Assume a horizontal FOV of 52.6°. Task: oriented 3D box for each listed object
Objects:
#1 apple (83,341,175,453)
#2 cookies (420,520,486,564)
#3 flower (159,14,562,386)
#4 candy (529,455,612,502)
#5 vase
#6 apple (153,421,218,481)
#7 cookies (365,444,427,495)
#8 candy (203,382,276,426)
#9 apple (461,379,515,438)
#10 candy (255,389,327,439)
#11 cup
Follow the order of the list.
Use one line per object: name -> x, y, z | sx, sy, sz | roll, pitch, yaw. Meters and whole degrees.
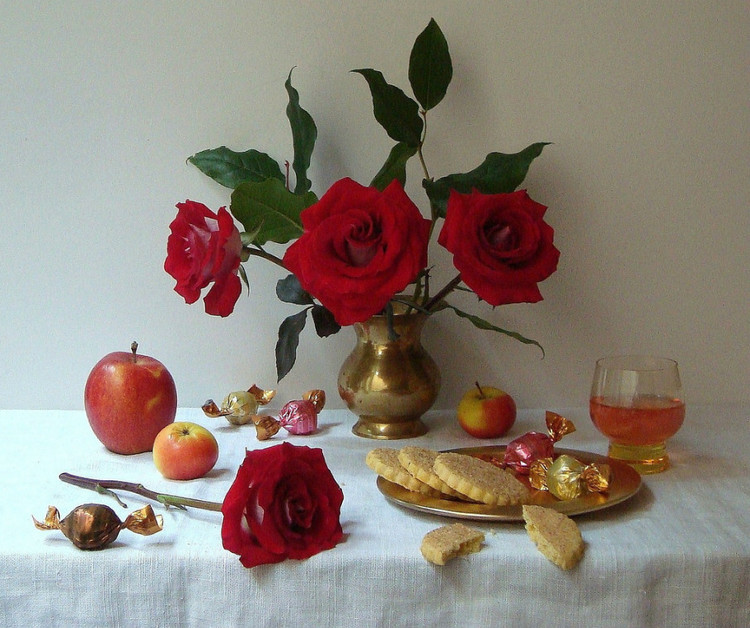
apple -> -0.347, 0.119, 1.105 | 0.129, 0.194, 0.140 | 2, 6, -18
cookies -> 0.085, 0.230, 0.798 | 0.031, 0.016, 0.048 | 22, 26, 40
flower -> -0.018, -0.119, 1.089 | 0.542, 0.268, 0.521 | 1, 51, 9
candy -> 0.234, 0.193, 0.902 | 0.084, 0.052, 0.047 | 0, -7, 25
vase -> 0.022, 0.076, 1.194 | 0.146, 0.227, 0.163 | 0, 14, 12
apple -> -0.249, 0.180, 0.995 | 0.064, 0.073, 0.071 | 5, 9, 10
cookies -> 0.026, 0.192, 0.929 | 0.048, 0.014, 0.050 | 35, 8, 26
candy -> -0.215, 0.137, 1.273 | 0.050, 0.063, 0.142 | -11, 3, 41
apple -> 0.169, 0.150, 1.148 | 0.073, 0.094, 0.082 | -6, 11, -6
candy -> -0.131, 0.160, 1.191 | 0.093, 0.041, 0.054 | -26, 55, -18
cup -> 0.337, 0.132, 1.064 | 0.124, 0.175, 0.140 | -2, 0, 0
